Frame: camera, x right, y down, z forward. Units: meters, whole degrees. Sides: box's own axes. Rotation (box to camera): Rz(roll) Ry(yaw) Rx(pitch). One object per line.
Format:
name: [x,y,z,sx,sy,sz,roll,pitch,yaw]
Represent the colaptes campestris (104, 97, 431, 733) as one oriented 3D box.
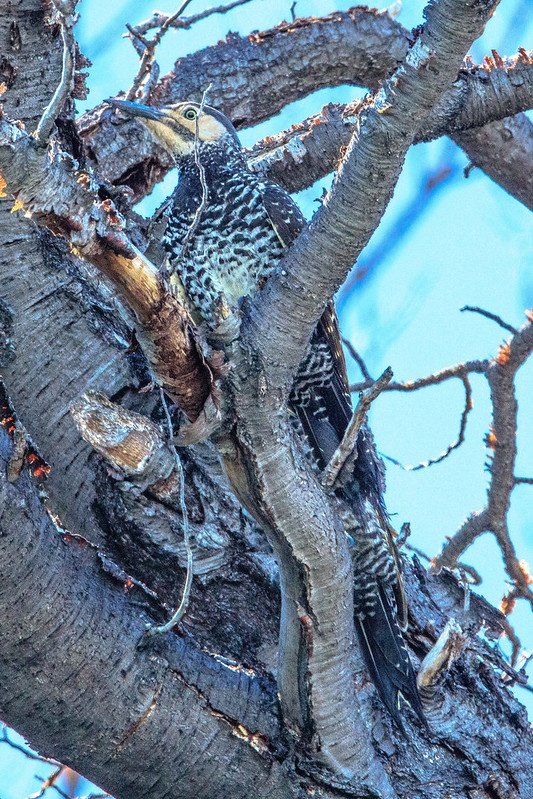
colaptes campestris: [-0.026,0.132,4.127,0.377,1.620,0.687,-21,5,25]
